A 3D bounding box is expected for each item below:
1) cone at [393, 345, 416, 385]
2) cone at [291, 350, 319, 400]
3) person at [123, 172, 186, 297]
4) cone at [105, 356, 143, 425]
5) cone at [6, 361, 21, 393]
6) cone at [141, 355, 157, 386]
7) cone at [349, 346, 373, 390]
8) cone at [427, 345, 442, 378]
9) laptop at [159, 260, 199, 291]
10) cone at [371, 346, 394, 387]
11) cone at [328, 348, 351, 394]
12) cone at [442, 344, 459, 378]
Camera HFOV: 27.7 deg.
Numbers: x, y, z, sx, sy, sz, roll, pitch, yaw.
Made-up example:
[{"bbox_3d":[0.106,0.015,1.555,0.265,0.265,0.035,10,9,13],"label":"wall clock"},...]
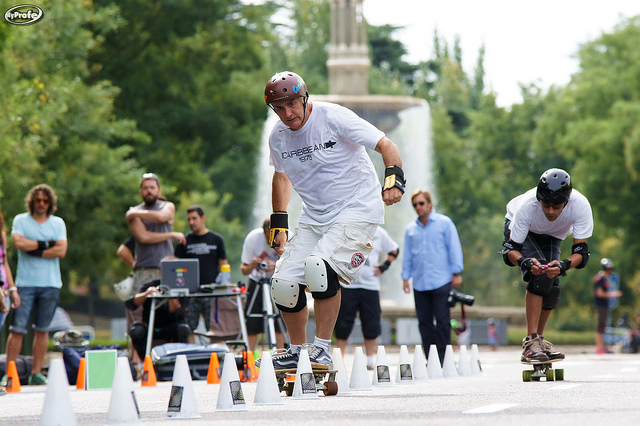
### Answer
[{"bbox_3d":[1.259,2.289,19.509,0.320,0.570,0.568,-2,-3,3],"label":"cone"},{"bbox_3d":[-0.228,2.205,17.777,0.498,0.745,0.528,-3,-5,-17],"label":"cone"},{"bbox_3d":[-2.754,0.691,21.863,1.032,2.631,0.811,-4,-4,-5],"label":"person"},{"bbox_3d":[-2.522,2.293,16.602,0.474,0.863,0.209,-1,-3,-11],"label":"cone"},{"bbox_3d":[-4.708,2.527,19.914,0.214,0.451,0.363,-1,-3,-14],"label":"cone"},{"bbox_3d":[-2.689,2.483,20.339,0.241,0.472,0.352,-1,-3,-8],"label":"cone"},{"bbox_3d":[0.558,2.251,18.699,0.422,0.621,0.350,0,-3,-29],"label":"cone"},{"bbox_3d":[1.772,2.317,20.153,0.271,0.502,0.191,-1,-3,-16],"label":"cone"},{"bbox_3d":[-2.178,0.891,20.839,0.625,0.565,0.501,2,18,11],"label":"laptop"},{"bbox_3d":[0.892,2.270,19.089,0.313,0.591,0.398,-2,-3,2],"label":"cone"},{"bbox_3d":[0.261,2.229,18.174,0.302,0.628,0.555,-2,-3,6],"label":"cone"},{"bbox_3d":[2.039,2.349,20.445,0.253,0.496,0.519,-2,-3,5],"label":"cone"}]
